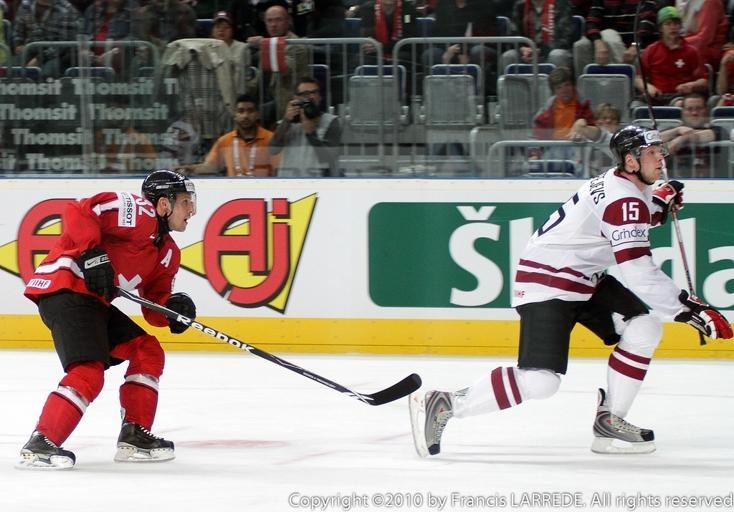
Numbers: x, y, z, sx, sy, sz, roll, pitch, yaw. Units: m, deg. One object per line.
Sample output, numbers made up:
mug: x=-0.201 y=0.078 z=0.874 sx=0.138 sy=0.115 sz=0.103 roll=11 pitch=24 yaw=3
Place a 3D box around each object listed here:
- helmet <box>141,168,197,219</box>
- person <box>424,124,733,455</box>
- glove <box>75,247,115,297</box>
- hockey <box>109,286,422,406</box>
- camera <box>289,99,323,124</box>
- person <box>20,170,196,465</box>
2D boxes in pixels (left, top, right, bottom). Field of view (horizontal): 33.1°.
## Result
helmet: x=-1.158 y=-0.366 z=7.212 sx=0.345 sy=0.187 sz=0.259 roll=-3 pitch=6 yaw=-13
person: x=1.202 y=0.185 z=7.201 sx=1.663 sy=1.864 sz=0.701 roll=0 pitch=11 yaw=0
glove: x=-1.498 y=0.089 z=6.885 sx=0.202 sy=0.262 sz=0.087 roll=-22 pitch=12 yaw=-9
hockey: x=-0.596 y=0.613 z=8.280 sx=1.989 sy=0.180 sz=0.196 roll=17 pitch=57 yaw=6
camera: x=-0.413 y=-1.053 z=8.946 sx=0.208 sy=0.139 sz=0.063 roll=-1 pitch=17 yaw=6
person: x=-1.472 y=0.347 z=7.058 sx=1.049 sy=1.632 sz=0.616 roll=-2 pitch=11 yaw=-10
